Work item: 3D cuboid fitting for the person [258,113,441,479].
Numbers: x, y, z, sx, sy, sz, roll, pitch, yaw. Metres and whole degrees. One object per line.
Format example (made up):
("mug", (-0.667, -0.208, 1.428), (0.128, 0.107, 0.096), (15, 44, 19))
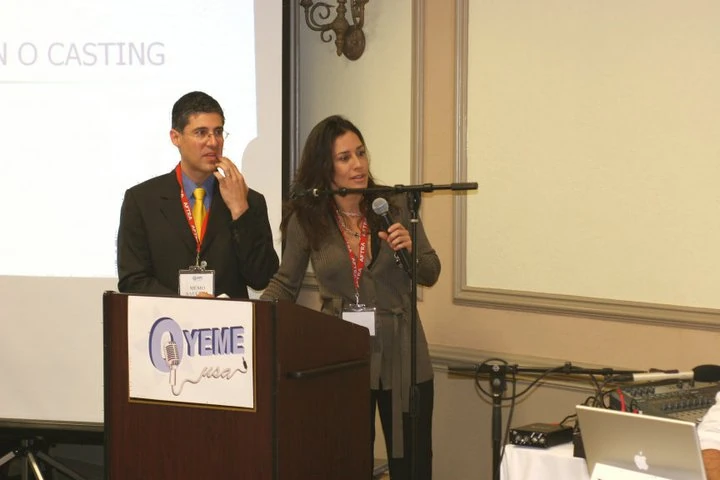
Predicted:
("person", (-0.055, 0.342, 3.727), (0.905, 1.935, 0.625), (4, 9, 19))

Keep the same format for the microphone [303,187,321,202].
("microphone", (-0.244, -0.233, 3.766), (0.081, 0.069, 0.034), (2, 3, 13))

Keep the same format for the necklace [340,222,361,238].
("necklace", (-0.054, -0.046, 3.803), (0.075, 0.084, 0.025), (14, 36, -6))
